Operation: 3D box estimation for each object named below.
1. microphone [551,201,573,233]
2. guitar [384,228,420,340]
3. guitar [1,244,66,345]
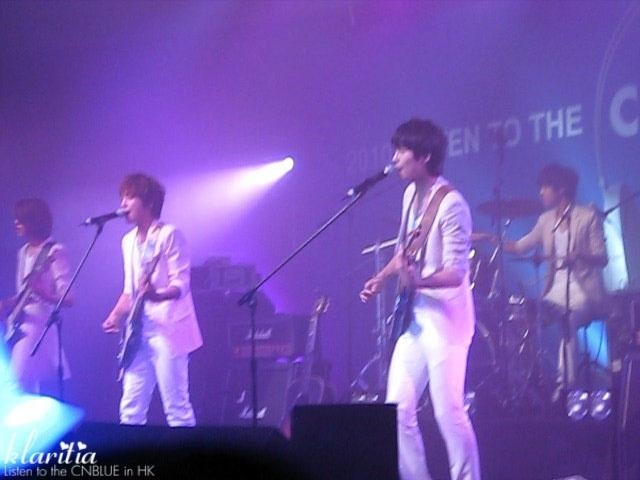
[{"bbox_3d":[1.646,-0.151,4.333,0.020,0.246,0.088,22,12,-39],"label":"microphone"},{"bbox_3d":[0.647,0.289,4.798,0.135,1.163,0.179,10,0,26],"label":"guitar"},{"bbox_3d":[-2.424,0.346,5.627,0.299,1.113,0.275,11,-11,11],"label":"guitar"}]
